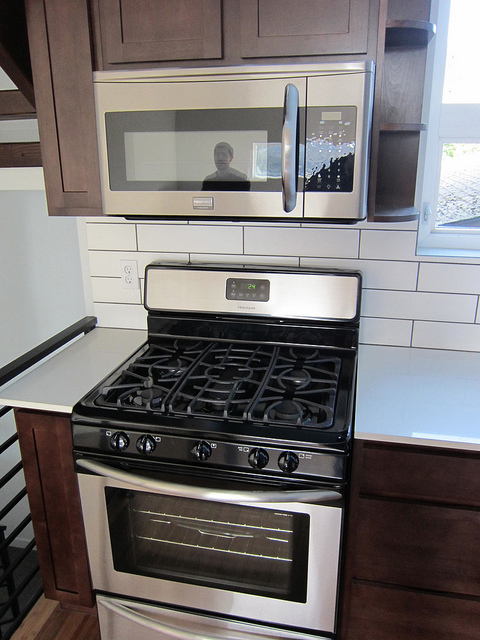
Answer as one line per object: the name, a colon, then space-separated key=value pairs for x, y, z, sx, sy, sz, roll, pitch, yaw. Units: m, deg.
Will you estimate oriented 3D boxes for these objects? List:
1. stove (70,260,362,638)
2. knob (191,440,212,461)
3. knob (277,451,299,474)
stove: x=-0.027 y=0.318 z=1.393 sx=0.681 sy=0.811 sz=0.663 roll=4 pitch=19 yaw=14
knob: x=-0.085 y=0.291 z=1.067 sx=0.039 sy=0.043 sz=0.012 roll=-4 pitch=2 yaw=17
knob: x=0.102 y=0.303 z=1.024 sx=0.045 sy=0.046 sz=0.015 roll=1 pitch=18 yaw=6
